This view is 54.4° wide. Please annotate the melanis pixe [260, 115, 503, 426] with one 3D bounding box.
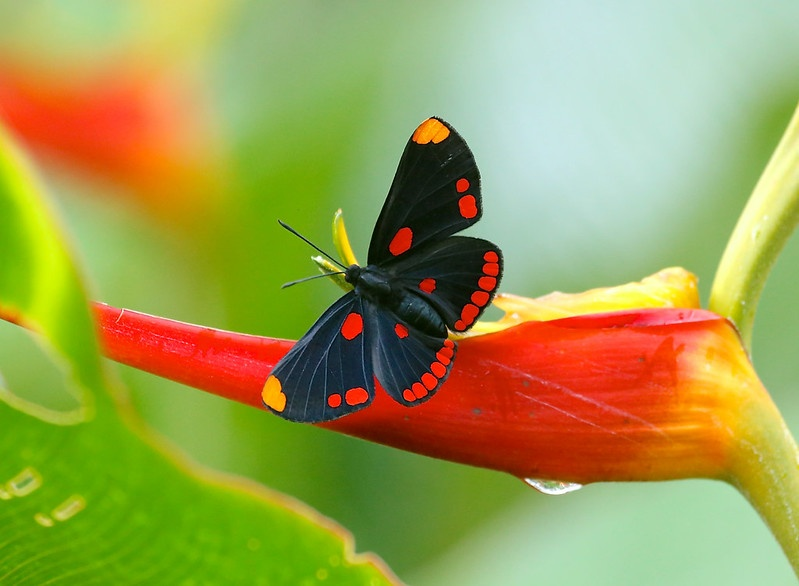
[{"bbox_3d":[-0.019,-0.001,0.596,0.154,0.293,0.023,32,27,1],"label":"melanis pixe"}]
